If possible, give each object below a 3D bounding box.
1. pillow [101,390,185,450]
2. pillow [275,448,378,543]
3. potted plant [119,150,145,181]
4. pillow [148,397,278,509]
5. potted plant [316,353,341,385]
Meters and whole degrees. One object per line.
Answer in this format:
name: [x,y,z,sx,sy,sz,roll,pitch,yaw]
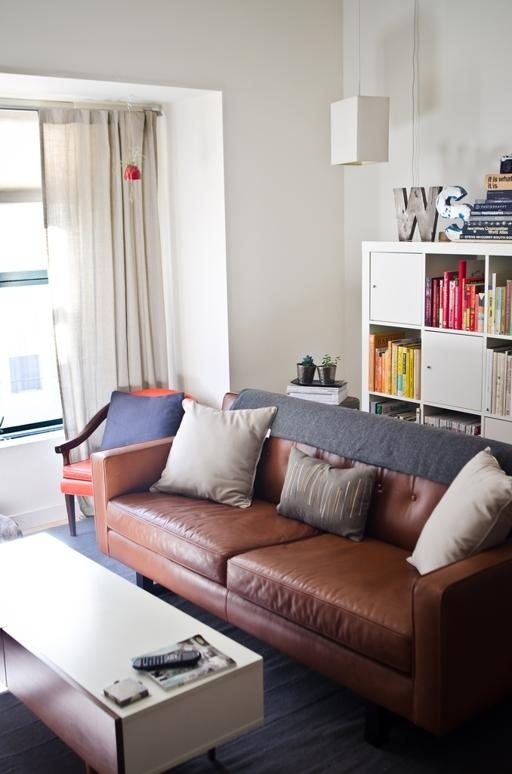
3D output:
pillow: [-0.610,0.201,3.042,0.415,0.358,0.198,0,-7,19]
pillow: [0.234,0.378,2.085,0.376,0.252,0.151,12,8,41]
potted plant: [-0.733,-1.305,3.455,0.129,0.185,0.212,-3,4,-9]
pillow: [-0.170,0.257,2.429,0.422,0.433,0.132,6,-20,34]
potted plant: [0.382,-0.091,3.119,0.101,0.149,0.186,-2,4,5]
